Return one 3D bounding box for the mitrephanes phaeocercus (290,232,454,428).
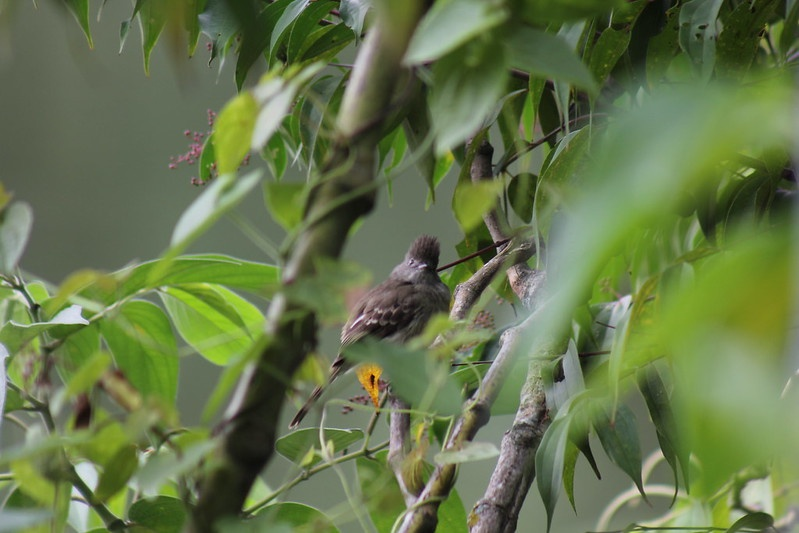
[{"bbox_3d":[-0.055,0.122,2.062,0.366,0.278,0.137,-17,-2,5],"label":"mitrephanes phaeocercus"}]
